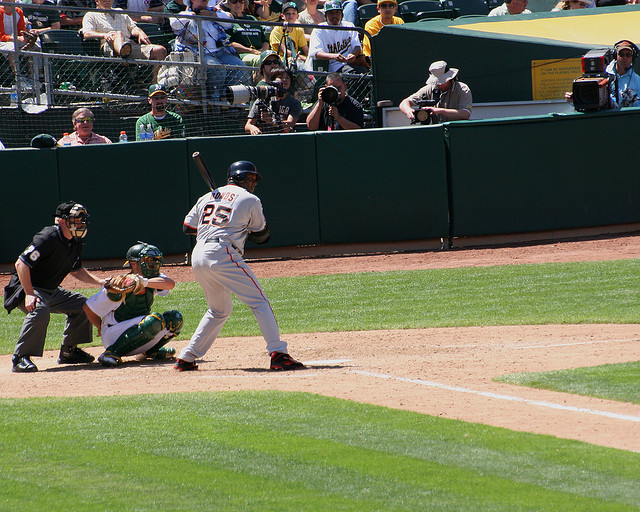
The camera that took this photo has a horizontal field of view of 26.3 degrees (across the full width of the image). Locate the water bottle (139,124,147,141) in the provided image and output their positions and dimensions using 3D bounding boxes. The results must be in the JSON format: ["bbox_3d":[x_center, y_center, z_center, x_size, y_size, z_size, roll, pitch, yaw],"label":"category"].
[{"bbox_3d":[-2.772,-1.918,21.261,0.134,0.232,0.117,1,16,17],"label":"water bottle"}]

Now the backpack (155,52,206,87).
[{"bbox_3d":[-2.227,-2.973,21.816,0.787,0.530,0.440,-5,15,-6],"label":"backpack"}]

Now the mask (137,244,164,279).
[{"bbox_3d":[-2.036,0.081,15.981,0.440,0.393,0.359,-3,-5,33],"label":"mask"}]

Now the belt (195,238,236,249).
[{"bbox_3d":[-1.109,-0.123,15.122,0.333,0.135,0.060,-2,15,6],"label":"belt"}]

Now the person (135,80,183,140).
[{"bbox_3d":[-2.519,-2.220,21.136,0.729,0.873,0.607,-5,15,-5],"label":"person"}]

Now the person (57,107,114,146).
[{"bbox_3d":[-3.662,-1.977,21.063,0.812,0.587,0.835,-6,14,-9],"label":"person"}]

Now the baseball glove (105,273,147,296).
[{"bbox_3d":[-2.233,0.374,15.704,0.472,0.297,0.266,-7,15,-16],"label":"baseball glove"}]

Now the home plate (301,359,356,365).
[{"bbox_3d":[0.087,1.230,15.615,0.556,0.037,0.283,0,14,14],"label":"home plate"}]

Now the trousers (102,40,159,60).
[{"bbox_3d":[-3.081,-3.345,22.118,0.754,0.342,0.448,-13,17,-34],"label":"trousers"}]

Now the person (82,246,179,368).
[{"bbox_3d":[-2.292,0.684,16.508,1.095,1.411,1.324,-9,-9,31],"label":"person"}]

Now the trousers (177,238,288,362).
[{"bbox_3d":[-1.012,0.513,15.217,1.198,1.424,0.285,-1,15,10],"label":"trousers"}]

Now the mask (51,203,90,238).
[{"bbox_3d":[-2.908,-0.431,15.917,0.458,0.363,0.349,8,5,27],"label":"mask"}]

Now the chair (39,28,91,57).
[{"bbox_3d":[-4.204,-3.515,22.420,0.630,0.699,0.615,-3,4,-33],"label":"chair"}]

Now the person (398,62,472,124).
[{"bbox_3d":[1.783,-2.528,21.138,1.024,0.977,0.762,0,15,11],"label":"person"}]

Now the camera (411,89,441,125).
[{"bbox_3d":[1.641,-2.308,21.233,0.389,0.511,0.497,3,16,22],"label":"camera"}]

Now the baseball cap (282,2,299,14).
[{"bbox_3d":[-0.523,-4.395,24.048,0.271,0.202,0.390,4,7,-10],"label":"baseball cap"}]

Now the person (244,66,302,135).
[{"bbox_3d":[-0.721,-2.447,21.385,0.984,1.019,0.645,-10,16,-24],"label":"person"}]

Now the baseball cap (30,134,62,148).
[{"bbox_3d":[-4.191,-1.729,20.675,0.327,0.153,0.200,-8,11,-4],"label":"baseball cap"}]

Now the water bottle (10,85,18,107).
[{"bbox_3d":[-4.834,-2.516,21.560,0.154,0.347,0.057,4,17,27],"label":"water bottle"}]

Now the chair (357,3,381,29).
[{"bbox_3d":[0.881,-4.558,25.941,0.452,0.507,0.474,-1,9,-7],"label":"chair"}]
